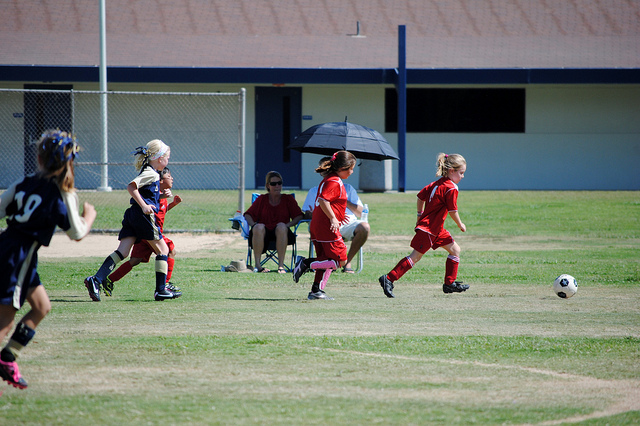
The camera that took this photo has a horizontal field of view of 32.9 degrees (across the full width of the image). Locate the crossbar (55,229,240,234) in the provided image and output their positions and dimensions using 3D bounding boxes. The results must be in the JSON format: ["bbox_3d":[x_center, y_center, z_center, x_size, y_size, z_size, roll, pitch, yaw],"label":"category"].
[{"bbox_3d":[-3.502,0.411,24.653,3.285,0.123,0.551,1,5,-6],"label":"crossbar"}]

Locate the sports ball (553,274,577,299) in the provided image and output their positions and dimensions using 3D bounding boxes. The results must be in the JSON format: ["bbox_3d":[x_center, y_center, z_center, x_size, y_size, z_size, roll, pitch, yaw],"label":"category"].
[{"bbox_3d":[4.380,1.359,19.821,0.402,0.477,0.399,19,-15,5],"label":"sports ball"}]

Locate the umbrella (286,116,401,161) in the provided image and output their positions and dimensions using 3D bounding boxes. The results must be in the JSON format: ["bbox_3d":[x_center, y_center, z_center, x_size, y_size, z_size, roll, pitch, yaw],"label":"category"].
[{"bbox_3d":[0.520,-1.500,22.544,2.061,0.749,1.067,1,5,2],"label":"umbrella"}]

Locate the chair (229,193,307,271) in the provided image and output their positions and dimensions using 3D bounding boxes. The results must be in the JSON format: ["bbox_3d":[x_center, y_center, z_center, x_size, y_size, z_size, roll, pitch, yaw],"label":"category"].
[{"bbox_3d":[-0.951,0.354,22.117,1.649,1.859,1.325,0,-11,-5],"label":"chair"}]

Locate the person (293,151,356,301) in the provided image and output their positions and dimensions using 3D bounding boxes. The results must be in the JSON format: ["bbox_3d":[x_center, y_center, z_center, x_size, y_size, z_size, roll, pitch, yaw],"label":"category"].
[{"bbox_3d":[0.121,0.228,19.777,0.972,2.698,0.507,1,5,2],"label":"person"}]
